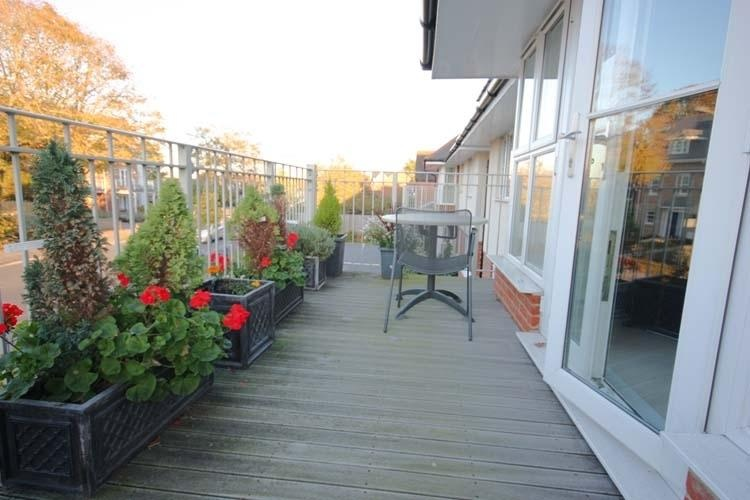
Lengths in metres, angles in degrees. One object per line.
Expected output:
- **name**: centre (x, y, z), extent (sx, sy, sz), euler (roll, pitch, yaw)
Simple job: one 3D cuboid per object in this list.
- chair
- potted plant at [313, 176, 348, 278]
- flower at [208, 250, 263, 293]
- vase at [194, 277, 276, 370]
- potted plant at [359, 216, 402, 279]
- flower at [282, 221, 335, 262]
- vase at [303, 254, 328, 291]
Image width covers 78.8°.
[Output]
- **chair**: centre (0.645, 0.138, 5.021), extent (0.937, 1.317, 1.019), euler (6, 17, 13)
- **potted plant**: centre (-0.659, -0.314, 6.521), extent (0.498, 1.234, 0.471), euler (-3, 5, -5)
- **flower**: centre (-1.191, 0.205, 3.886), extent (0.435, 0.147, 0.316), euler (7, 28, 0)
- **vase**: centre (-1.085, 0.536, 3.756), extent (0.561, 0.660, 0.886), euler (2, 12, 2)
- **potted plant**: centre (0.105, -0.088, 6.525), extent (0.878, 0.941, 0.785), euler (1, 10, 10)
- **flower**: centre (-0.797, -0.132, 5.673), extent (0.448, 0.297, 0.507), euler (6, 19, -36)
- **vase**: centre (-0.793, 0.258, 5.606), extent (0.427, 0.324, 0.261), euler (7, 13, 21)
